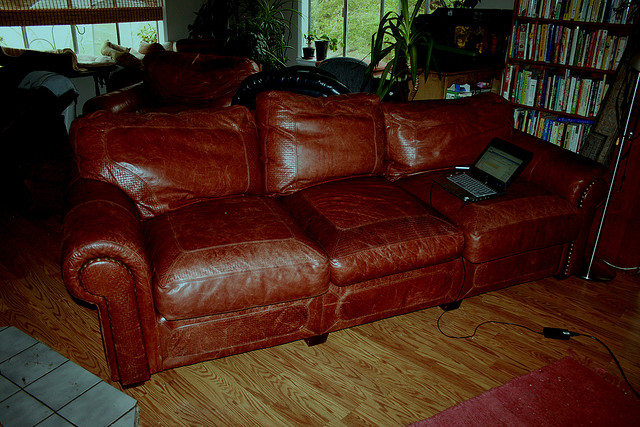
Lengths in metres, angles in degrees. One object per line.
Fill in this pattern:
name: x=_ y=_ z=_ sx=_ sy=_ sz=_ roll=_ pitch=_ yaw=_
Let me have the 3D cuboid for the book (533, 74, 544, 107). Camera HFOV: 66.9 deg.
book: x=2.003 y=-1.131 z=4.468 sx=0.051 sy=0.211 sz=0.219 roll=11 pitch=18 yaw=25

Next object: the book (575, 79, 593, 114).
book: x=2.292 y=-1.022 z=4.211 sx=0.055 sy=0.218 sz=0.219 roll=0 pitch=27 yaw=-11

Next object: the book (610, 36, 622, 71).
book: x=2.443 y=-1.342 z=4.011 sx=0.034 sy=0.199 sz=0.021 roll=14 pitch=33 yaw=20

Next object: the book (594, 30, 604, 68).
book: x=2.344 y=-1.396 z=4.089 sx=0.013 sy=0.235 sz=0.028 roll=8 pitch=24 yaw=-1

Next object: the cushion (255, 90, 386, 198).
cushion: x=0.048 y=-0.504 z=3.328 sx=1.010 sy=0.646 sz=0.351 roll=-7 pitch=22 yaw=-18

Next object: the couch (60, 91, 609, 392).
couch: x=0.047 y=0.049 z=3.089 sx=2.963 sy=1.352 sz=0.983 roll=-6 pitch=28 yaw=-17

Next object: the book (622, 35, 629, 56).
book: x=2.455 y=-1.368 z=3.899 sx=0.033 sy=0.033 sz=0.235 roll=24 pitch=60 yaw=-9

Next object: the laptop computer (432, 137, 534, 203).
laptop computer: x=1.062 y=-0.293 z=3.224 sx=0.543 sy=0.224 sz=0.399 roll=-21 pitch=34 yaw=-19

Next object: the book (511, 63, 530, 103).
book: x=1.890 y=-1.249 z=4.561 sx=0.105 sy=0.288 sz=0.312 roll=7 pitch=28 yaw=21

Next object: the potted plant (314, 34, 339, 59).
potted plant: x=0.083 y=-2.348 z=6.802 sx=0.365 sy=0.325 sz=0.347 roll=-2 pitch=22 yaw=-9

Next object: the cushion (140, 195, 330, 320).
cushion: x=-0.475 y=0.231 z=2.780 sx=0.943 sy=0.386 sz=0.578 roll=-6 pitch=27 yaw=-16

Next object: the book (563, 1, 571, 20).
book: x=2.129 y=-1.766 z=4.182 sx=0.033 sy=0.117 sz=0.132 roll=11 pitch=19 yaw=13

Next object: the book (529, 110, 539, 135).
book: x=1.992 y=-0.878 z=4.534 sx=0.035 sy=0.142 sz=0.145 roll=8 pitch=11 yaw=40

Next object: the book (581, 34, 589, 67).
book: x=2.257 y=-1.407 z=4.168 sx=0.025 sy=0.216 sz=0.026 roll=-6 pitch=24 yaw=-38

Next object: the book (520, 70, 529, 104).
book: x=1.905 y=-1.197 z=4.550 sx=0.048 sy=0.204 sz=0.213 roll=11 pitch=15 yaw=33

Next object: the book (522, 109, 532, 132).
book: x=1.925 y=-0.889 z=4.572 sx=0.043 sy=0.174 sz=0.184 roll=10 pitch=13 yaw=39

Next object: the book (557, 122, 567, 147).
book: x=2.172 y=-0.725 z=4.382 sx=0.043 sy=0.173 sz=0.176 roll=6 pitch=17 yaw=17

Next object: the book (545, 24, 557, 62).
book: x=2.056 y=-1.531 z=4.325 sx=0.056 sy=0.225 sz=0.223 roll=6 pitch=10 yaw=6

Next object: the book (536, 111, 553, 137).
book: x=2.073 y=-0.875 z=4.503 sx=0.157 sy=0.146 sz=0.035 roll=-1 pitch=6 yaw=-35

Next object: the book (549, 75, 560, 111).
book: x=2.116 y=-1.100 z=4.372 sx=0.049 sy=0.203 sz=0.208 roll=13 pitch=16 yaw=40

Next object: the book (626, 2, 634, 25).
book: x=2.461 y=-1.587 z=3.862 sx=0.029 sy=0.136 sz=0.057 roll=16 pitch=31 yaw=26
